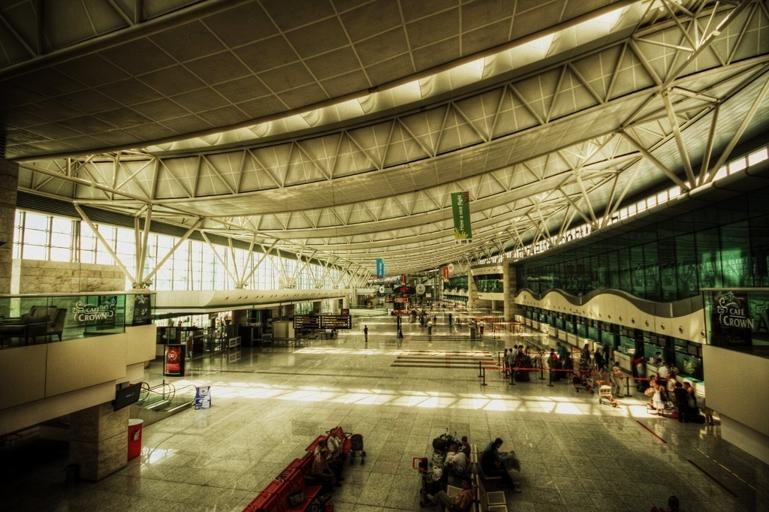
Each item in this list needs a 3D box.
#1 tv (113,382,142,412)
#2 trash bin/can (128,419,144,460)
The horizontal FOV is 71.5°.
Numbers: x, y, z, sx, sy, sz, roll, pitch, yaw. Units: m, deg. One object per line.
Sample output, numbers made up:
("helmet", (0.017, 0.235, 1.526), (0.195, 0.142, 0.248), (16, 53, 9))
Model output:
("tv", (-10.577, 5.577, 21.645), (0.851, 1.004, 1.090), (14, 11, 23))
("trash bin/can", (-10.221, 7.597, 21.966), (0.543, 1.486, 0.623), (2, -8, -25))
